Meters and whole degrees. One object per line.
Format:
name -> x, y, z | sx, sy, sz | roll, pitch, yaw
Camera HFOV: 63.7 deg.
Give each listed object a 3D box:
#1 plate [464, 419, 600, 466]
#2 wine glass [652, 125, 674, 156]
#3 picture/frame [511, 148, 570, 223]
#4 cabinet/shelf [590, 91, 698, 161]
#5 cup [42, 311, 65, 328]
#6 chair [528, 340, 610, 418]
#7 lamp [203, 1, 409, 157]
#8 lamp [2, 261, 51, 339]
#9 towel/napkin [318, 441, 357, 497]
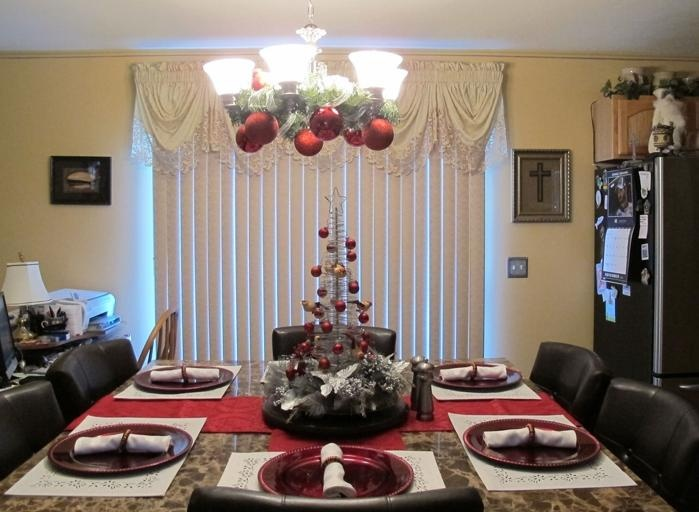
plate -> 0.618, 0.646, 1.877 | 0.219, 0.033, 0.219 | 0, 0, -18
wine glass -> 2.047, -0.776, 3.670 | 0.137, 0.172, 0.071 | 6, 13, 27
picture/frame -> 1.394, -0.533, 4.104 | 0.535, 0.661, 0.053 | 0, 1, -2
cabinet/shelf -> 2.056, -0.889, 3.875 | 0.793, 0.516, 0.430 | 0, 3, 0
cup -> -1.826, 0.406, 3.471 | 0.080, 0.085, 0.114 | 0, -5, -1
chair -> 0.974, 0.533, 2.456 | 0.311, 0.380, 0.268 | 5, -2, -18
lamp -> -0.176, -0.601, 2.441 | 0.649, 0.749, 0.662 | -1, 2, -6
lamp -> -1.950, 0.250, 3.413 | 0.226, 0.464, 0.395 | -6, 13, -29
towel/napkin -> -0.038, 0.669, 1.729 | 0.091, 0.068, 0.235 | 3, 4, -4
